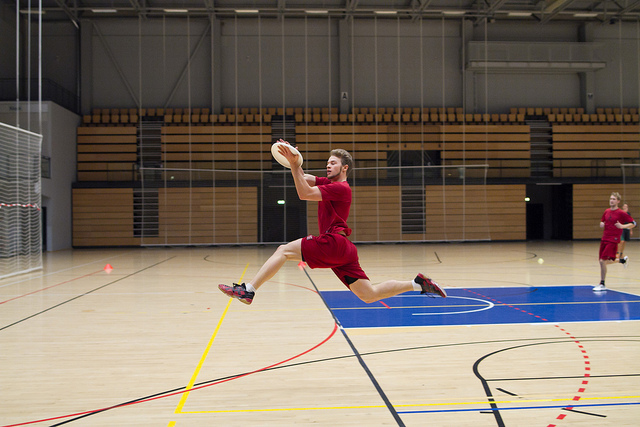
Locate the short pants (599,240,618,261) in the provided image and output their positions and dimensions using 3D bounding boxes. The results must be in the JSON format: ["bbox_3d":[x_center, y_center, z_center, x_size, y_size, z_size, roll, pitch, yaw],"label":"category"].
[{"bbox_3d":[6.598,0.858,15.057,0.425,0.480,0.201,-1,3,-12],"label":"short pants"}]

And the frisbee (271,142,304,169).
[{"bbox_3d":[-0.487,-1.099,11.648,0.573,0.122,0.530,31,-32,-4],"label":"frisbee"}]
